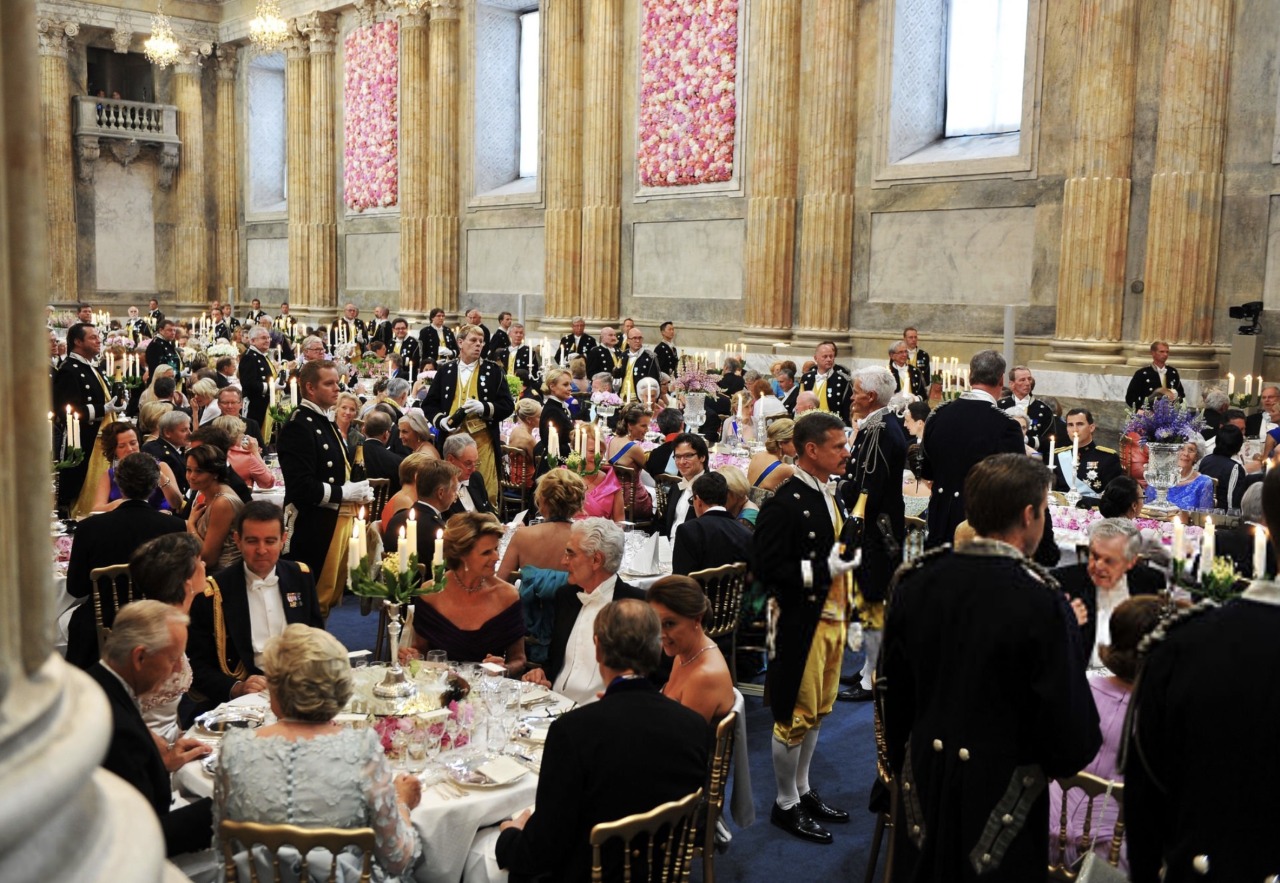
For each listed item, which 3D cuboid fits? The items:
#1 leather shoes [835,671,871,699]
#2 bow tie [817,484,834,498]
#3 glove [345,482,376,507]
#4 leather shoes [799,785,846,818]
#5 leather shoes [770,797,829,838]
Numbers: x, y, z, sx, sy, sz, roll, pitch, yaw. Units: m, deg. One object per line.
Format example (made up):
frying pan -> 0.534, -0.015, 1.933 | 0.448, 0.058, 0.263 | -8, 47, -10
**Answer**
leather shoes -> 1.428, 1.665, 9.398 | 0.114, 0.145, 0.358 | -2, -8, 28
bow tie -> 0.992, 0.271, 7.484 | 0.060, 0.075, 0.083 | 10, 40, -7
glove -> -2.003, 0.387, 10.004 | 0.205, 0.091, 0.286 | 5, 3, 7
leather shoes -> 0.986, 2.002, 7.693 | 0.323, 0.142, 0.115 | 1, 2, 9
leather shoes -> 0.857, 2.063, 7.580 | 0.338, 0.144, 0.126 | 5, 10, 37
